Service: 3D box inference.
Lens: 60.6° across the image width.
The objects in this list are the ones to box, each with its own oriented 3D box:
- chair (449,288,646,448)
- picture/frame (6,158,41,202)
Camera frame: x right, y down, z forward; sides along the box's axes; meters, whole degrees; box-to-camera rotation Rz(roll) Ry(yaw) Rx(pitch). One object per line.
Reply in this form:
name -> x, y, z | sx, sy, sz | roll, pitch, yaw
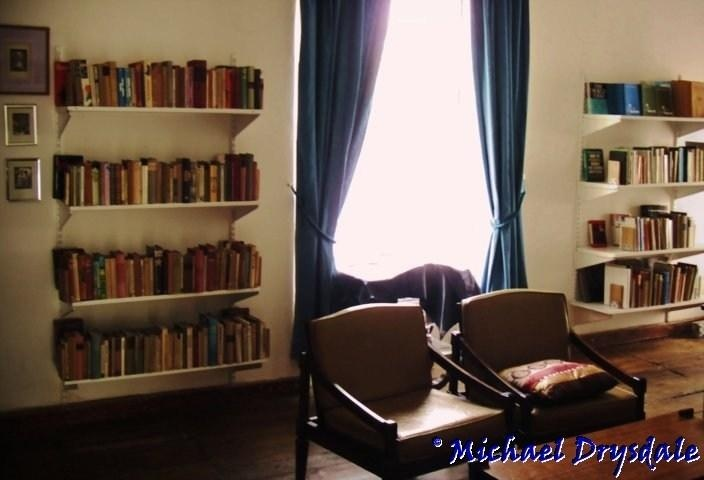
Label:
chair -> 1.188, 0.786, 3.949 | 1.077, 0.949, 0.947 | -2, 3, -18
picture/frame -> -2.279, -0.426, 4.154 | 0.300, 0.375, 0.037 | -1, 4, -17
